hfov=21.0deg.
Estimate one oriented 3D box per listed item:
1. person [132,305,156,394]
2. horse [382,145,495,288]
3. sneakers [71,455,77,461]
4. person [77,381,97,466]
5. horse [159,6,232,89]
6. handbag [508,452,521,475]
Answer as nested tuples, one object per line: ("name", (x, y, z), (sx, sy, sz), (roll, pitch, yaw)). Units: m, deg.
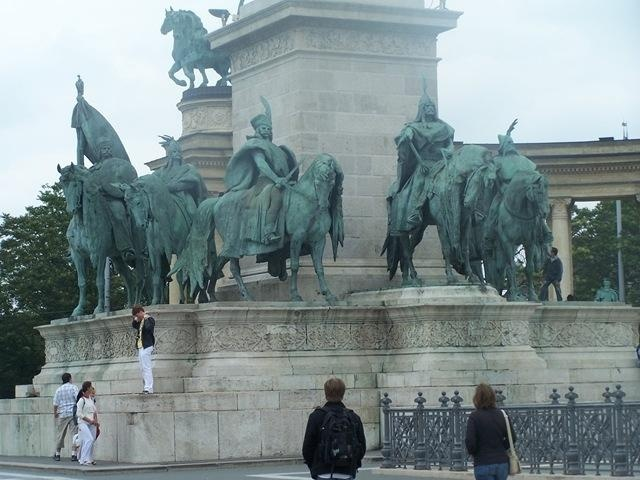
("person", (-3.940, 2.468, 38.377), (0.493, 2.009, 0.767), (-2, -7, -7))
("horse", (2.839, -0.481, 42.167), (1.627, 3.280, 4.507), (5, -8, -28))
("sneakers", (-5.568, 4.946, 38.721), (0.125, 0.126, 0.129), (-1, -4, -4))
("person", (-5.095, 4.019, 37.458), (0.437, 1.812, 0.345), (-2, -7, -10))
("horse", (-4.493, -6.927, 59.763), (0.778, 2.548, 2.555), (1, -8, -32))
("handbag", (3.391, 3.933, 30.077), (0.187, 0.377, 0.666), (-4, -7, 5))
